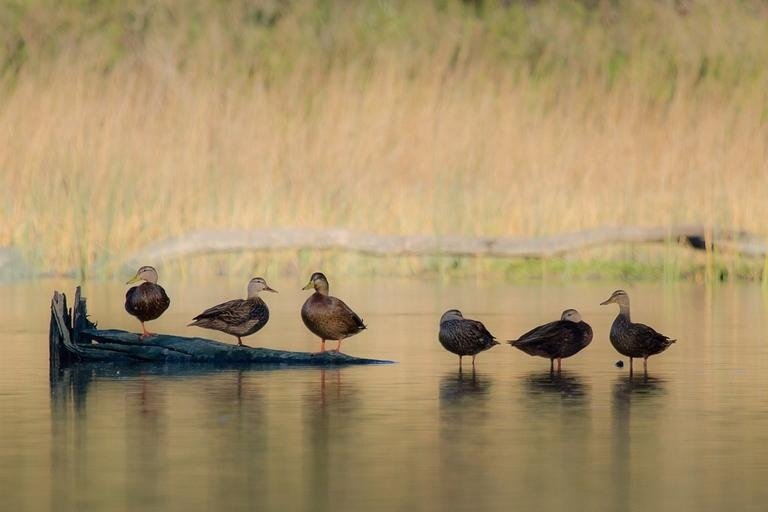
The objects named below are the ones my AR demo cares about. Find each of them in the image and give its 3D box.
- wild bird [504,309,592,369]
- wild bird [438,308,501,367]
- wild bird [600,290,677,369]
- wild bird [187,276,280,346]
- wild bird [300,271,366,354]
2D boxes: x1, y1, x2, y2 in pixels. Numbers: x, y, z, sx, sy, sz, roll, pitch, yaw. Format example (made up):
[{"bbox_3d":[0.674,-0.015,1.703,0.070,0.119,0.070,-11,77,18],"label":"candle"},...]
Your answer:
[{"bbox_3d":[2.353,1.183,22.339,1.278,0.895,0.627,-2,-6,-15],"label":"wild bird"},{"bbox_3d":[1.218,1.141,22.571,1.018,0.695,0.590,7,-6,-37],"label":"wild bird"},{"bbox_3d":[3.572,1.042,22.469,0.783,1.185,0.648,-4,-10,7],"label":"wild bird"},{"bbox_3d":[-2.166,0.769,22.875,1.213,0.859,0.641,-1,1,-1],"label":"wild bird"},{"bbox_3d":[-0.782,0.788,22.726,0.813,1.107,0.811,1,-11,-15],"label":"wild bird"}]
